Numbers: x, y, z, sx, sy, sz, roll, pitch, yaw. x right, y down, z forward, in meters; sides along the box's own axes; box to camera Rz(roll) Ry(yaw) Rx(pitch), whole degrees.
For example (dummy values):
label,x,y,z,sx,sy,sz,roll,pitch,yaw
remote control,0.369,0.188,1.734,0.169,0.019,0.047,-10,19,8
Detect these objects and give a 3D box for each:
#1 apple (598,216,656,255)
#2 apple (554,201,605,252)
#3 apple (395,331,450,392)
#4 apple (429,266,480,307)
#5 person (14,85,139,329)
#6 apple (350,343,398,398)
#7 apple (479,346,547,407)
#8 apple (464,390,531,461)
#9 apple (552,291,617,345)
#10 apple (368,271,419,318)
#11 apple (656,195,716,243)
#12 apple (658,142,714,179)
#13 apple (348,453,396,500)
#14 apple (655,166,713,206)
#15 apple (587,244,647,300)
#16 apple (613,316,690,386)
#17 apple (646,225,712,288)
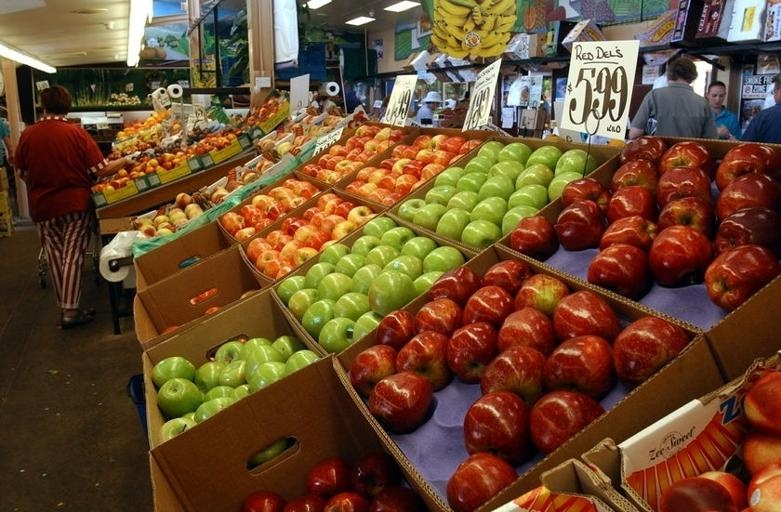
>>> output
label,x,y,z,sx,sy,sz,roll,pitch,yaw
apple,0.891,-0.085,1.772,0.181,0.128,0.203,-9,17,-17
apple,0.760,-0.124,1.991,0.186,0.199,0.196,-12,12,-9
apple,0.127,0.369,1.793,0.179,0.200,0.188,3,4,9
apple,0.277,0.102,1.996,0.200,0.129,0.241,-23,24,-39
person,-3.368,-0.505,5.283,0.850,2.475,1.066,3,10,24
apple,-0.061,0.389,1.811,0.167,0.169,0.177,-15,24,-33
apple,0.418,0.387,1.559,0.158,0.166,0.159,0,-12,20
apple,0.327,0.524,1.451,0.191,0.185,0.100,2,18,6
apple,0.677,0.165,1.635,0.189,0.153,0.216,-11,24,-30
apple,0.009,0.172,2.138,0.206,0.208,0.190,-13,18,-17
apple,1.083,-0.148,1.768,0.154,0.150,0.149,51,29,18
apple,1.218,-0.407,1.961,0.162,0.180,0.166,-12,6,39
apple,-0.064,0.739,1.676,0.160,0.133,0.150,-4,16,-15
apple,1.130,-0.281,1.861,0.155,0.166,0.156,-21,7,24
apple,0.822,0.057,1.752,0.180,0.178,0.186,32,-13,17
apple,0.782,0.295,1.436,0.197,0.186,0.128,-5,19,-11
apple,0.979,-0.020,1.676,0.157,0.197,0.249,-2,20,-15
